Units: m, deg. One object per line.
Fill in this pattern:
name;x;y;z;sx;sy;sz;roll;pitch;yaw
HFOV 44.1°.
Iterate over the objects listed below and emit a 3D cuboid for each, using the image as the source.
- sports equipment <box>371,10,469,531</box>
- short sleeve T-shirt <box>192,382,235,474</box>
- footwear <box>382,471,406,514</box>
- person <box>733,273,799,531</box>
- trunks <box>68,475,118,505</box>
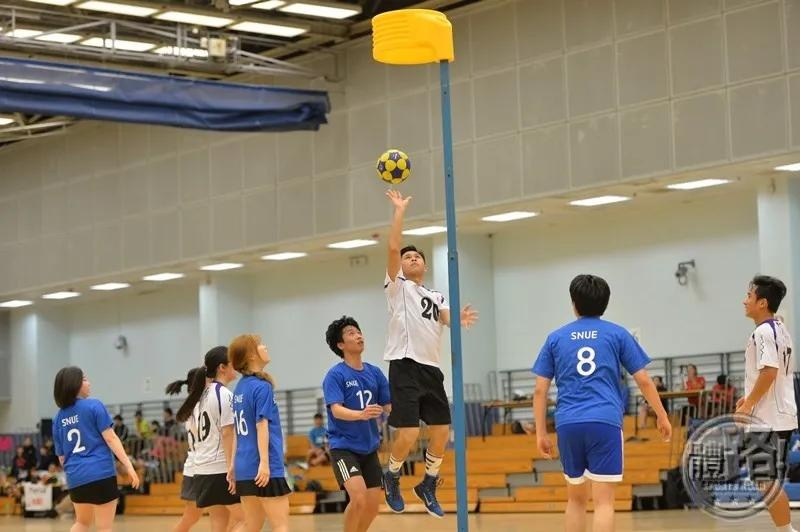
sports equipment;0.341;-0.095;11.223;0.813;6.225;1.127;-4;-6;2
short sleeve T-shirt;-2.321;2.064;12.291;0.461;1.257;0.957;6;-8;-30
footwear;-0.062;2.822;12.501;0.205;0.288;0.615;-5;38;-16
person;4.503;1.247;12.182;0.758;2.299;0.481;-4;-6;3
trunks;-3.892;3.002;12.562;0.554;0.420;0.351;-6;14;2
